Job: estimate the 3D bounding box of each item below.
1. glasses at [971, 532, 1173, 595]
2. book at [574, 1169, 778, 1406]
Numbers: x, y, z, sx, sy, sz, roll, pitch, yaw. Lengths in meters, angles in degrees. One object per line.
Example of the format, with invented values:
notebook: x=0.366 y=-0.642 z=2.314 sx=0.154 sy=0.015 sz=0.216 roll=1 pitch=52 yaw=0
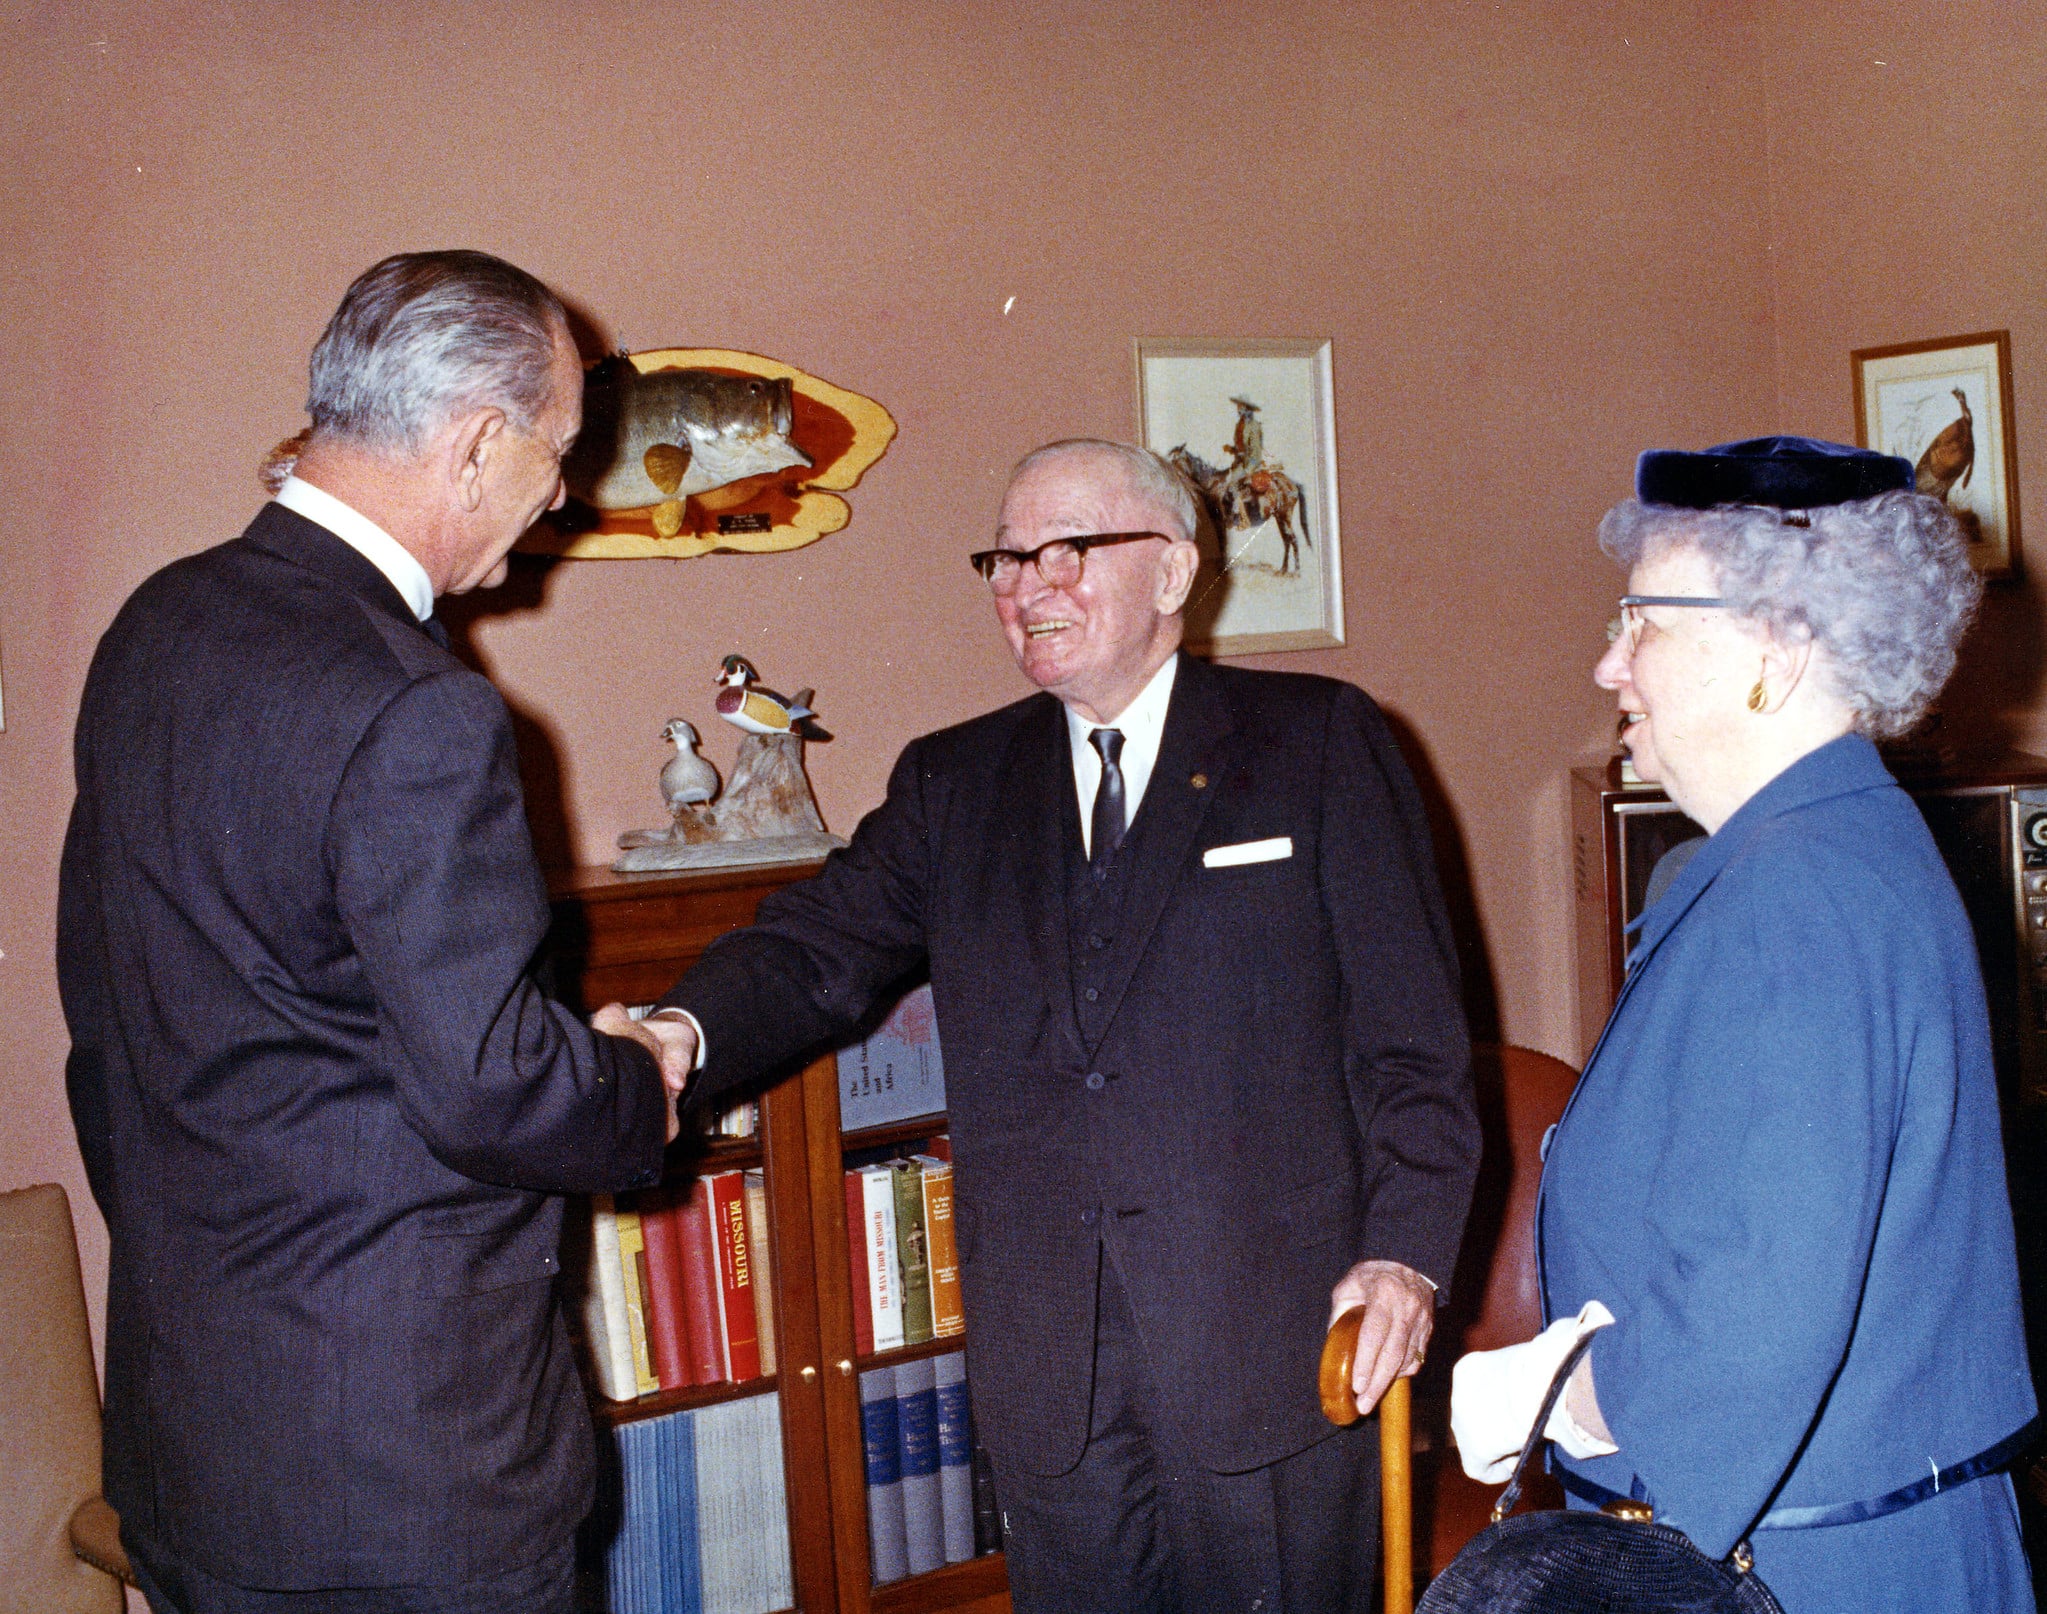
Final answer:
glasses: x=0.051 y=-0.341 z=2.769 sx=0.135 sy=0.038 sz=0.131 roll=-3 pitch=-2 yaw=-45
book: x=-0.552 y=0.782 z=3.273 sx=0.300 sy=0.434 sz=0.428 roll=-2 pitch=4 yaw=-7
